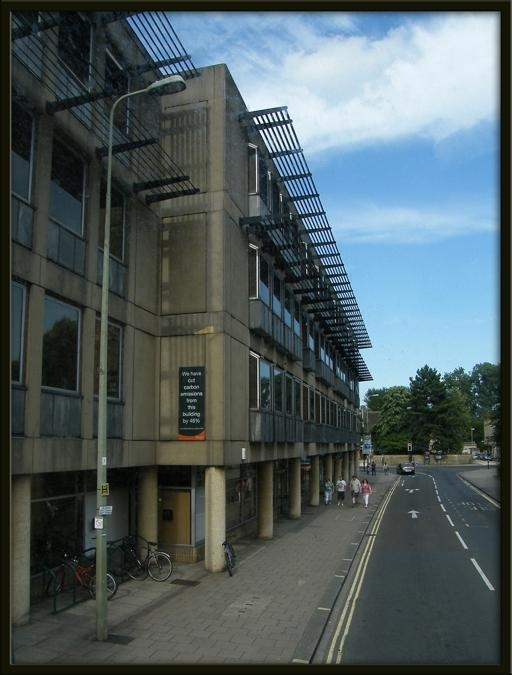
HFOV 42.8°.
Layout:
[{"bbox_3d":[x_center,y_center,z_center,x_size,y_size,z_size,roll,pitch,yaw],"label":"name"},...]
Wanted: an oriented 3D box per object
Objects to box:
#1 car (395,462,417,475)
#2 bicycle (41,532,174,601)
[{"bbox_3d":[14.479,12.709,63.134,0.785,1.146,2.734,-1,-14,-12],"label":"car"},{"bbox_3d":[-2.968,4.852,13.948,1.898,1.768,1.198,0,-20,-12],"label":"bicycle"}]
